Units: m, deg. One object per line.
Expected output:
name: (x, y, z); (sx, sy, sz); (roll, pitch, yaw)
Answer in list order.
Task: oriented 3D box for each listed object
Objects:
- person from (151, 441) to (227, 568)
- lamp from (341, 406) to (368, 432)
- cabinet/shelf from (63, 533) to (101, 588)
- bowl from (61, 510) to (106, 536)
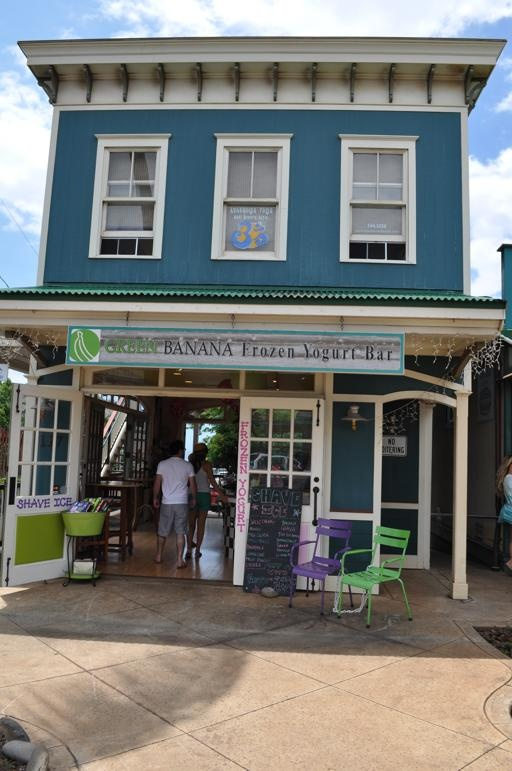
person: (-0.972, 1.578, 9.174); (0.779, 1.604, 1.433); (4, -8, -4)
lamp: (1.150, 0.382, 8.014); (0.286, 0.314, 0.298); (0, 0, -37)
cabinet/shelf: (-1.991, 2.068, 8.008); (0.480, 0.621, 0.424); (0, -2, 2)
bowl: (-2.045, 1.644, 7.959); (0.463, 0.327, 0.431); (3, -8, 0)
